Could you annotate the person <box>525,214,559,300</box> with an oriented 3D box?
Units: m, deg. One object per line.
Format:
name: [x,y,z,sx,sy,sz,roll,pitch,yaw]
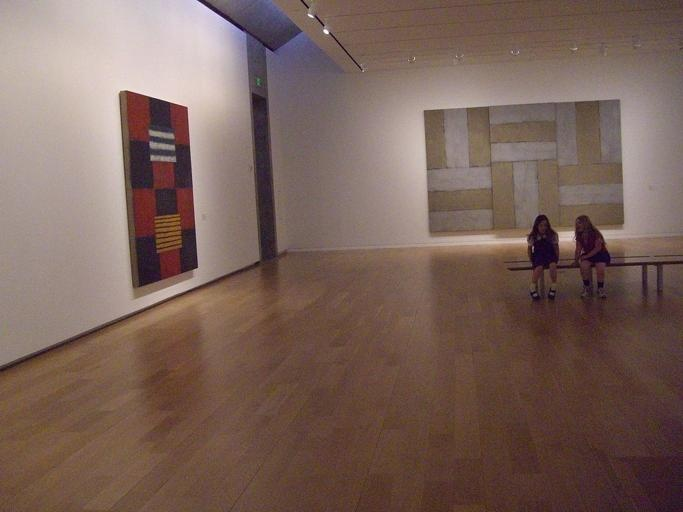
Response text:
person: [2.648,-0.003,6.110,0.364,1.057,0.580,1,8,24]

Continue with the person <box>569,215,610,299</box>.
person: [3.355,-0.022,6.212,0.423,1.055,0.860,2,9,30]

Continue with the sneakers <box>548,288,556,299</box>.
sneakers: [2.711,0.468,5.992,0.087,0.142,0.209,1,9,26]

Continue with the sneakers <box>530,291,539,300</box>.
sneakers: [2.495,0.509,6.012,0.083,0.097,0.117,-3,-6,6]

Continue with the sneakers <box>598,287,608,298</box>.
sneakers: [3.328,0.448,5.934,0.106,0.080,0.189,1,9,17]
